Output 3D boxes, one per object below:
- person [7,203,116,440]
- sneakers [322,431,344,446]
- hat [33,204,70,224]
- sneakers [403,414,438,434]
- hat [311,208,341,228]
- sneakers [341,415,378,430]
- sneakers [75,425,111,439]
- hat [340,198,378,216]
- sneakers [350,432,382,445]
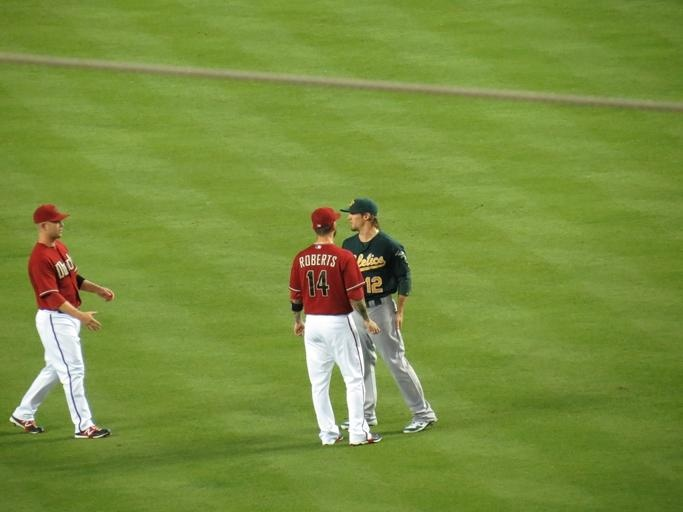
[{"bbox_3d":[-3.979,0.879,21.901,1.266,2.653,0.677,-3,1,-12],"label":"person"},{"bbox_3d":[-0.158,2.493,21.745,0.323,0.136,0.123,-15,23,-39],"label":"sneakers"},{"bbox_3d":[-4.077,-0.634,21.826,0.451,0.220,0.301,0,11,-7],"label":"hat"},{"bbox_3d":[1.068,2.329,22.101,0.494,0.227,0.201,-23,-11,-18],"label":"sneakers"},{"bbox_3d":[-0.218,-0.584,21.754,0.280,0.198,0.360,10,29,27],"label":"hat"},{"bbox_3d":[0.265,2.306,22.129,0.574,0.231,0.182,1,7,-5],"label":"sneakers"},{"bbox_3d":[-3.484,2.385,21.798,0.457,0.160,0.199,-2,-1,9],"label":"sneakers"},{"bbox_3d":[0.231,-0.734,21.973,0.433,0.196,0.257,-2,4,-3],"label":"hat"},{"bbox_3d":[0.340,2.485,21.716,0.436,0.166,0.161,-9,17,-20],"label":"sneakers"}]
